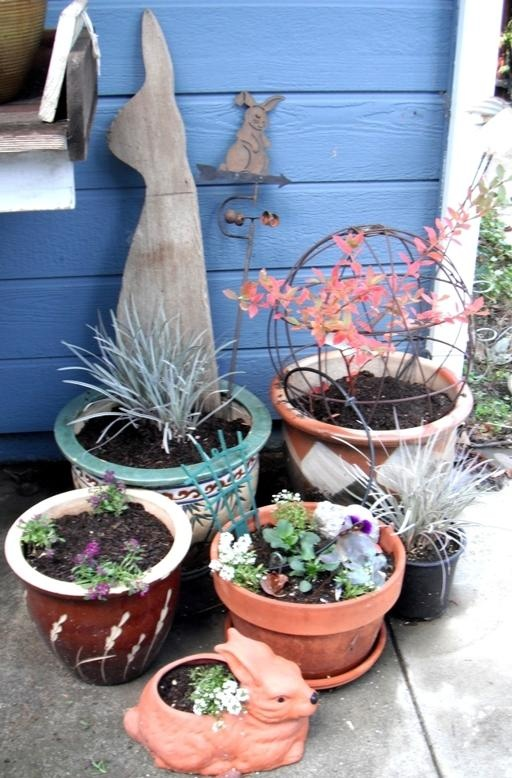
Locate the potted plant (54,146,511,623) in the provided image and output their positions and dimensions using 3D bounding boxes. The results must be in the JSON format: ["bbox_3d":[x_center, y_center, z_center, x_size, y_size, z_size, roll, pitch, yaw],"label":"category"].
[{"bbox_3d":[0.045,-0.042,1.817,0.752,1.197,0.677,30,57,30],"label":"potted plant"}]
